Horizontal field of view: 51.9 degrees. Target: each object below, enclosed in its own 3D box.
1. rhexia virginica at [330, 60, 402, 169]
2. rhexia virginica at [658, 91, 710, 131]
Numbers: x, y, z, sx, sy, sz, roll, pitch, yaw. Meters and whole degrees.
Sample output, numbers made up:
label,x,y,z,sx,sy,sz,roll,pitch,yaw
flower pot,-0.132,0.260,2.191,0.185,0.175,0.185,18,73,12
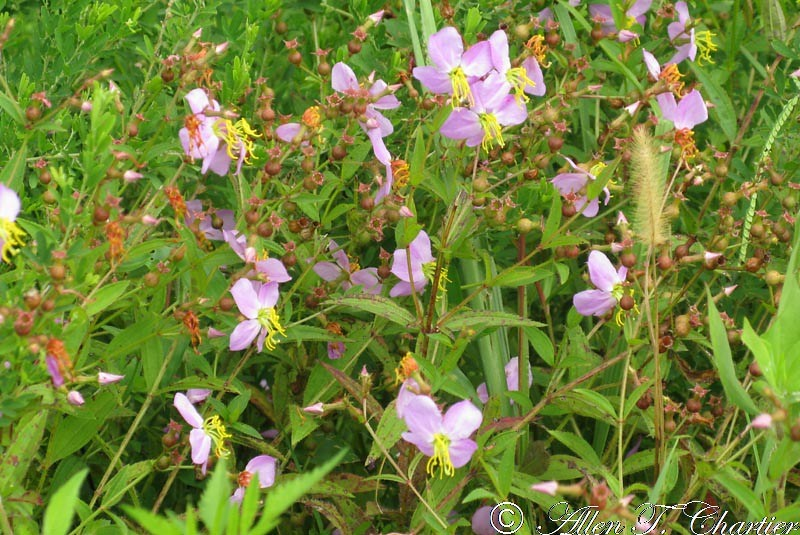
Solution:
label,x,y,z,sx,sy,sz,roll,pitch,yaw
rhexia virginica,-0.065,-0.375,1.928,0.107,0.191,0.326,-4,74,14
rhexia virginica,0.706,-0.400,2.059,0.118,0.095,0.098,1,34,18
